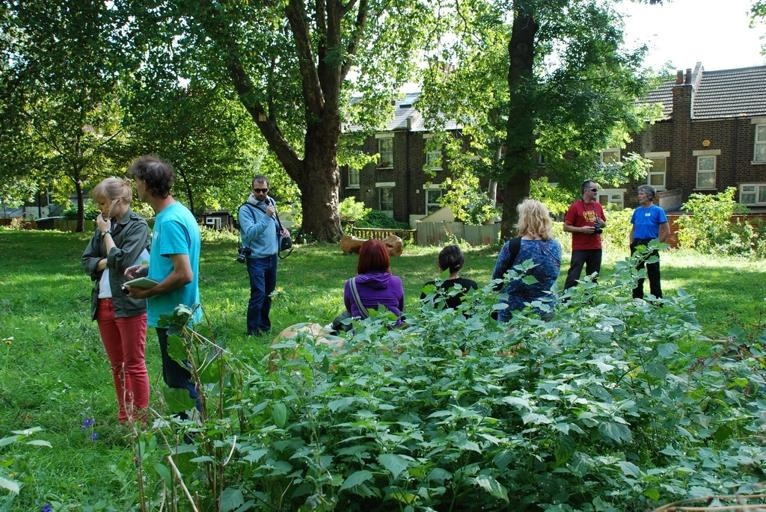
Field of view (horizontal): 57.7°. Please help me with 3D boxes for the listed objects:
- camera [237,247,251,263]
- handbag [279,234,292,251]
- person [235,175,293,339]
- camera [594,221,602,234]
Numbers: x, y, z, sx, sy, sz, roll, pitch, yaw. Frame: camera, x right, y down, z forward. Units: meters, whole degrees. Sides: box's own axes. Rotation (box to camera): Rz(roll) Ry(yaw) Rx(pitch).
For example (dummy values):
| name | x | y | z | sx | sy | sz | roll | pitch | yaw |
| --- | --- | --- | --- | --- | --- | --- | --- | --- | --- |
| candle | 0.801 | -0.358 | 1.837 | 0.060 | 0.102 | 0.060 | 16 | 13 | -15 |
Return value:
| name | x | y | z | sx | sy | sz | roll | pitch | yaw |
| --- | --- | --- | --- | --- | --- | --- | --- | --- | --- |
| camera | -1.990 | -0.023 | 9.886 | 0.143 | 0.203 | 0.174 | -2 | 4 | -29 |
| handbag | -1.480 | -0.189 | 10.435 | 0.186 | 0.235 | 0.250 | 3 | -2 | -8 |
| person | -1.816 | -0.045 | 10.111 | 0.670 | 2.277 | 0.917 | 1 | 4 | 16 |
| camera | 3.456 | -0.456 | 11.243 | 0.204 | 0.187 | 0.121 | -3 | 5 | -30 |
